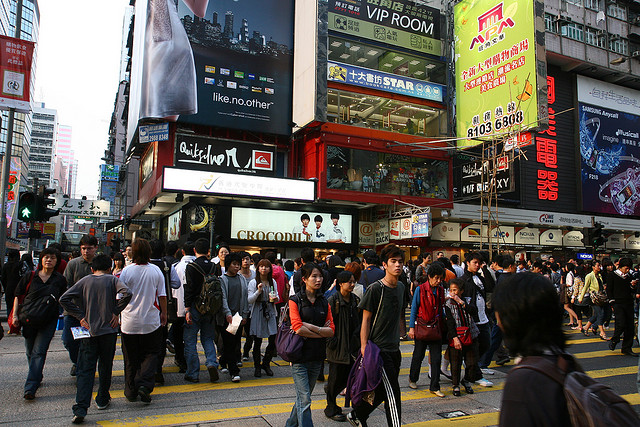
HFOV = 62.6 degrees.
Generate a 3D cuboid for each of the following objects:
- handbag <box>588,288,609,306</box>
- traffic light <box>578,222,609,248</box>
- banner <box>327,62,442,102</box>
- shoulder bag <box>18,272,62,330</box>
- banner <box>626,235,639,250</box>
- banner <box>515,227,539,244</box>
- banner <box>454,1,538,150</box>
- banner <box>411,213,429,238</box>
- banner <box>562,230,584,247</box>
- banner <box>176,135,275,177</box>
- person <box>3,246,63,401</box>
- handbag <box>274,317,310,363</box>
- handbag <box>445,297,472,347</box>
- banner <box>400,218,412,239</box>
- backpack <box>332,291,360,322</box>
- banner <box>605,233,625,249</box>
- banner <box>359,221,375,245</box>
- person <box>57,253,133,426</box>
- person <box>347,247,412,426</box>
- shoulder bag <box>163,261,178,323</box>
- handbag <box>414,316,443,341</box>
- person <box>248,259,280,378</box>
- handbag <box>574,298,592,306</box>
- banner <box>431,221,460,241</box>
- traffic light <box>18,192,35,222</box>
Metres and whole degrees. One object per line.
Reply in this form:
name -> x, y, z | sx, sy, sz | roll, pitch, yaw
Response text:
handbag -> 8.533, 2.561, 16.133 | 0.683, 0.663, 0.489 | 2, -5, 42
traffic light -> 10.955, 0.855, 20.976 | 0.702, 0.879, 0.578 | -4, -7, 29
banner -> 3.512, -7.104, 28.761 | 6.758, 1.516, 0.393 | -1, 8, -21
shoulder bag -> -5.949, 1.913, 11.148 | 0.850, 1.127, 0.366 | -2, 9, -31
banner -> 22.795, 2.142, 38.435 | 1.000, 0.953, 0.134 | 2, 0, -16
banner -> 13.364, 1.461, 34.017 | 2.097, 1.068, 0.273 | -2, 8, -26
banner -> 7.693, -6.525, 23.331 | 1.163, 6.475, 5.131 | 0, 8, -14
banner -> 5.021, 0.624, 26.476 | 0.154, 1.179, 1.152 | 1, 2, -35
banner -> 16.990, 1.698, 35.377 | 1.425, 1.073, 0.391 | 0, 8, -14
banner -> -4.626, -2.722, 25.970 | 5.076, 1.889, 0.093 | 4, -14, -27
person -> -6.076, 2.275, 11.230 | 1.054, 3.084, 0.956 | 9, 10, 42
handbag -> -0.650, 2.439, 10.113 | 0.365, 0.770, 0.768 | 9, -10, -30
handbag -> 3.095, 2.424, 11.786 | 0.610, 0.959, 0.530 | -2, -7, -8
banner -> 4.470, 0.792, 27.393 | 0.141, 1.426, 1.058 | 1, 1, -26
backpack -> 0.542, 1.872, 10.647 | 0.419, 0.589, 0.591 | 4, -13, -26
banner -> 21.346, 2.023, 37.860 | 2.036, 1.184, 0.493 | -3, 9, -34
banner -> 2.560, 1.159, 29.577 | 1.269, 1.487, 0.192 | 2, -8, -26
person -> -4.540, 2.456, 10.532 | 1.137, 3.124, 0.896 | -5, 10, -41
person -> 1.085, 2.353, 10.101 | 0.975, 3.297, 1.209 | 3, 8, 5
shoulder bag -> -3.484, 1.818, 12.362 | 0.254, 1.386, 0.266 | 4, 4, 17
handbag -> 2.384, 2.560, 11.623 | 0.512, 0.471, 0.213 | 2, -14, -7
person -> -1.406, 2.493, 12.579 | 0.719, 2.691, 0.725 | -2, 9, -27
handbag -> 8.485, 2.871, 16.913 | 0.409, 0.311, 0.421 | -4, -6, 20
banner -> 7.526, 1.085, 31.418 | 1.986, 1.189, 0.399 | -2, 9, -28
traffic light -> -9.173, -0.178, 16.351 | 0.466, 0.890, 0.368 | -2, 9, -31
